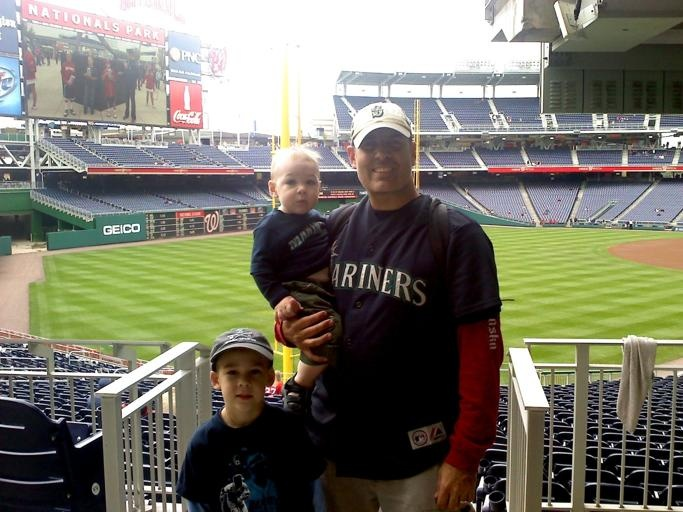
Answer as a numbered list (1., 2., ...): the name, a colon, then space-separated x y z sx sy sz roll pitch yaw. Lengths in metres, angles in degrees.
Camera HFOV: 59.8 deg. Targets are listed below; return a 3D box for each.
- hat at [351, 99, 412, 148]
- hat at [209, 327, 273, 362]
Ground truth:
1. hat: 0.204 -0.708 3.181 0.354 0.224 0.426 -5 -2 -8
2. hat: -0.499 0.447 3.077 0.365 0.151 0.484 0 -1 -12
